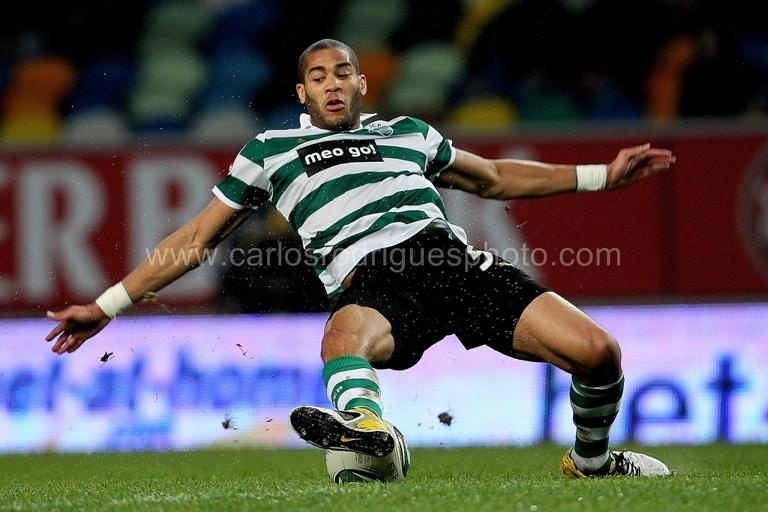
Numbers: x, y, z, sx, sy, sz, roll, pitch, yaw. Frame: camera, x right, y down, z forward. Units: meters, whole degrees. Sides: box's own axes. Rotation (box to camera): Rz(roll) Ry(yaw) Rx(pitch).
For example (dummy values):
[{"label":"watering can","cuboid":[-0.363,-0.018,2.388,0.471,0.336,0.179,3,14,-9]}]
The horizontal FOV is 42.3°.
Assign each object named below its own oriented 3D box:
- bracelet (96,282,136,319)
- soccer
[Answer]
[{"label":"bracelet","cuboid":[-1.929,0.339,7.192,0.203,0.222,0.264,38,-39,-18]},{"label":"soccer","cuboid":[-0.109,1.298,6.716,0.530,0.389,0.430,-1,-8,5]}]
